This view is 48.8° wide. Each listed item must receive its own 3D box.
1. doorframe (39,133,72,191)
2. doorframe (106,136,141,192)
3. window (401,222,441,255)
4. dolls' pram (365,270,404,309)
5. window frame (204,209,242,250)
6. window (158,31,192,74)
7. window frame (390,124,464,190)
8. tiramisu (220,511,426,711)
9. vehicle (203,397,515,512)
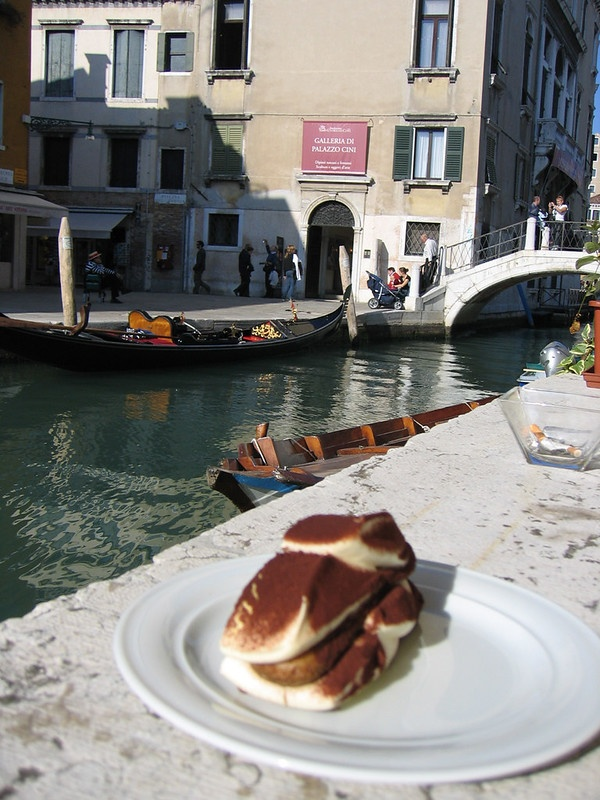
[{"bbox_3d":[-9.255,-8.971,24.907,1.263,2.002,0.373,-2,0,15],"label":"doorframe"},{"bbox_3d":[-6.585,-8.808,24.560,1.172,1.877,0.229,-2,0,9],"label":"doorframe"},{"bbox_3d":[4.094,-5.442,22.163,1.360,1.369,0.102,2,11,24],"label":"window"},{"bbox_3d":[2.648,-3.437,20.788,1.168,1.007,0.811,-2,0,19],"label":"dolls' pram"},{"bbox_3d":[-2.812,-6.235,24.172,1.590,1.598,0.182,1,5,6],"label":"window frame"},{"bbox_3d":[-4.541,-12.608,23.932,1.400,1.420,0.415,1,13,2],"label":"window"},{"bbox_3d":[4.348,-8.139,22.130,2.292,1.694,0.315,2,2,5],"label":"window frame"},{"bbox_3d":[0.031,0.245,0.856,0.212,0.143,0.300,4,19,34],"label":"tiramisu"},{"bbox_3d":[0.720,0.484,5.116,0.826,0.714,3.524,3,7,37],"label":"vehicle"}]
